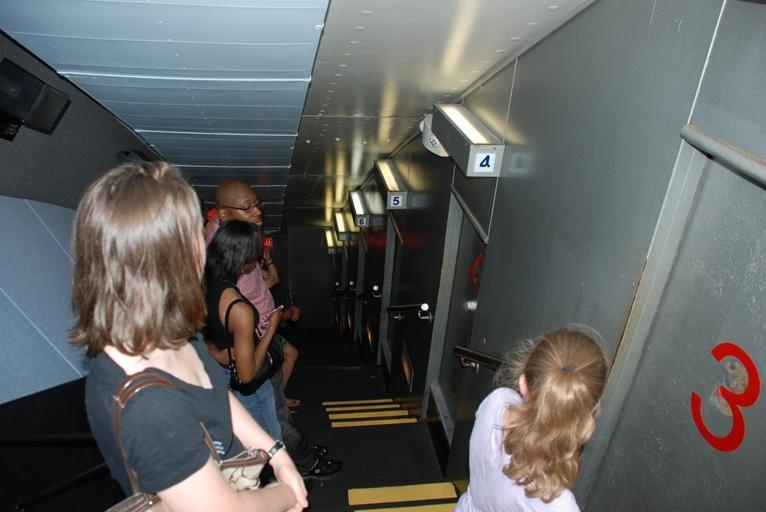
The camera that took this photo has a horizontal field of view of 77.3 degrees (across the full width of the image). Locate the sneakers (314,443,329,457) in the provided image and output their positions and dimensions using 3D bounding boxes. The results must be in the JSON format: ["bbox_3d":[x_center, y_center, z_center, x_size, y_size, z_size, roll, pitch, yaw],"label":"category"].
[{"bbox_3d":[-0.571,1.792,4.422,0.134,0.054,0.175,16,-8,-25],"label":"sneakers"}]

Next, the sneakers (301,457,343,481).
[{"bbox_3d":[-0.537,1.872,4.283,0.376,0.146,0.153,-3,44,-15],"label":"sneakers"}]
